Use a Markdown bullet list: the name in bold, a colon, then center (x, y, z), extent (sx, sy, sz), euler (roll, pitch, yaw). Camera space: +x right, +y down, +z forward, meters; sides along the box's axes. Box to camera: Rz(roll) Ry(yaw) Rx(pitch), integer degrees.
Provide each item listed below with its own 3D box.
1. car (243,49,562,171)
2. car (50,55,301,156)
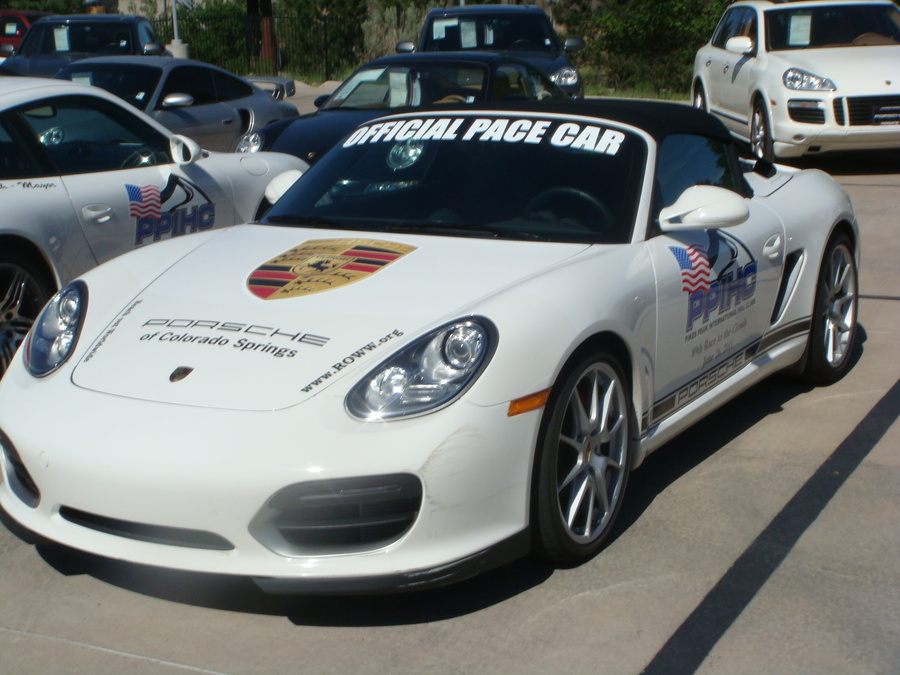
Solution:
- **car**: center (-0.343, -2.634, 8.802), extent (1.694, 1.270, 3.720), euler (13, 20, 43)
- **car**: center (-3.560, -3.294, 10.806), extent (1.682, 1.125, 3.300), euler (5, 4, 36)
